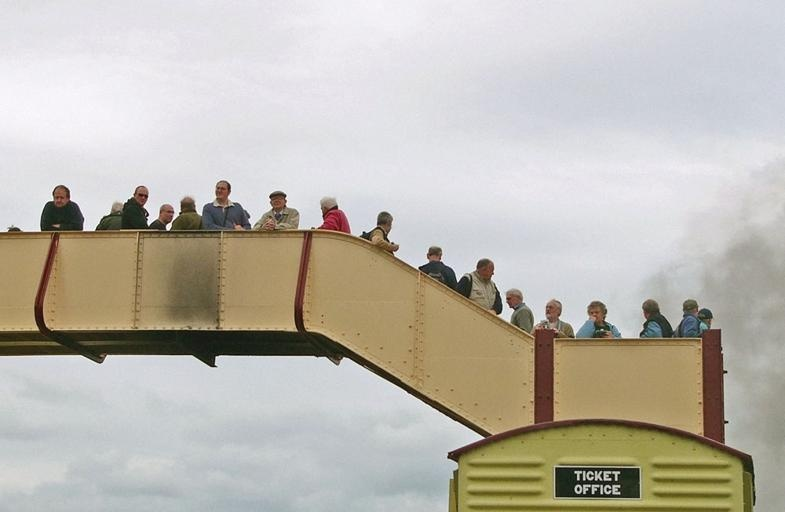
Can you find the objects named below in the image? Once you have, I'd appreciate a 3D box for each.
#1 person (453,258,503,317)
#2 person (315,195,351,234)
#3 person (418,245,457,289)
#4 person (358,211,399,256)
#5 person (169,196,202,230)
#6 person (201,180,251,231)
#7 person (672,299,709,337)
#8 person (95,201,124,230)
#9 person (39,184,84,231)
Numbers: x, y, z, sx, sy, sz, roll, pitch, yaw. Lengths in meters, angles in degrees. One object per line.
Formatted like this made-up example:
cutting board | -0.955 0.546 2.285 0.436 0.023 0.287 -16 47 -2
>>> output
person | 1.810 0.559 50.132 0.942 1.239 2.138 1 -18 1
person | -1.345 -0.768 51.050 0.600 0.840 0.558 1 -18 1
person | 0.943 0.321 51.126 0.820 1.031 0.639 2 -18 0
person | -0.337 -0.452 50.649 0.716 1.008 0.837 2 -18 -1
person | -4.604 -0.883 51.175 0.652 0.871 0.816 3 -18 -5
person | -3.800 -0.962 51.544 0.985 0.979 0.617 4 -18 -8
person | 6.462 1.447 50.669 0.703 0.950 1.285 -1 -18 7
person | -6.396 -0.783 51.853 0.538 0.882 0.867 4 -18 -8
person | -7.504 -0.817 51.950 0.969 1.239 0.718 0 -1 -3
